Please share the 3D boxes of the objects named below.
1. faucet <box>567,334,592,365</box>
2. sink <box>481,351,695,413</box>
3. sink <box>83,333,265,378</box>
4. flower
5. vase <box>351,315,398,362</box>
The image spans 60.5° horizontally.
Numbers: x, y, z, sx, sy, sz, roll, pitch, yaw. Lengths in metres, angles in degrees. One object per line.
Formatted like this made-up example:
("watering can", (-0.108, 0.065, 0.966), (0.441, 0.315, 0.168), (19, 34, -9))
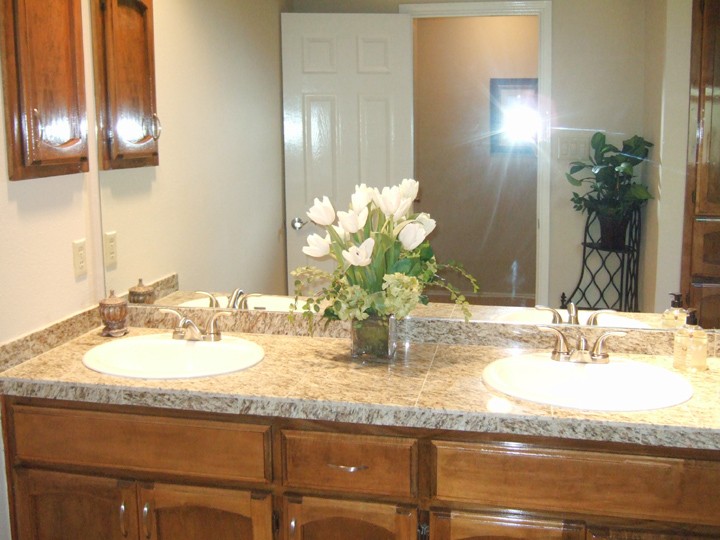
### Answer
("faucet", (0.727, 0.258, 2.010), (0.061, 0.047, 0.101), (3, 47, 17))
("sink", (0.666, 0.353, 1.839), (0.592, 0.113, 0.375), (2, 6, 15))
("sink", (-0.626, 0.307, 2.092), (0.603, 0.109, 0.413), (0, 6, -2))
("flower", (0.047, -0.007, 2.308), (0.580, 0.657, 0.634), (5, 9, 33))
("vase", (0.046, 0.234, 2.101), (0.144, 0.110, 0.144), (0, 3, 2))
